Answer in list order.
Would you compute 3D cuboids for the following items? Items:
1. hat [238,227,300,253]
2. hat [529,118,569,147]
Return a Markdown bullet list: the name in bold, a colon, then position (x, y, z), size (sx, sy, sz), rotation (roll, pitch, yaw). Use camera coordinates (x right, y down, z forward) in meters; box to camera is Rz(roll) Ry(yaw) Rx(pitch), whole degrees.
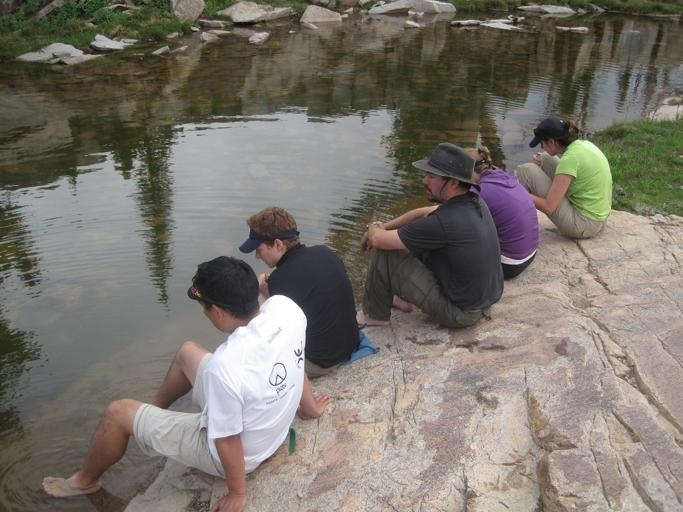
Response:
- **hat**: position (-0.716, -0.160, 5.672), size (0.438, 0.132, 0.263), rotation (-11, 4, 3)
- **hat**: position (2.586, -1.536, 7.247), size (0.449, 0.251, 0.317), rotation (-9, 27, 38)
